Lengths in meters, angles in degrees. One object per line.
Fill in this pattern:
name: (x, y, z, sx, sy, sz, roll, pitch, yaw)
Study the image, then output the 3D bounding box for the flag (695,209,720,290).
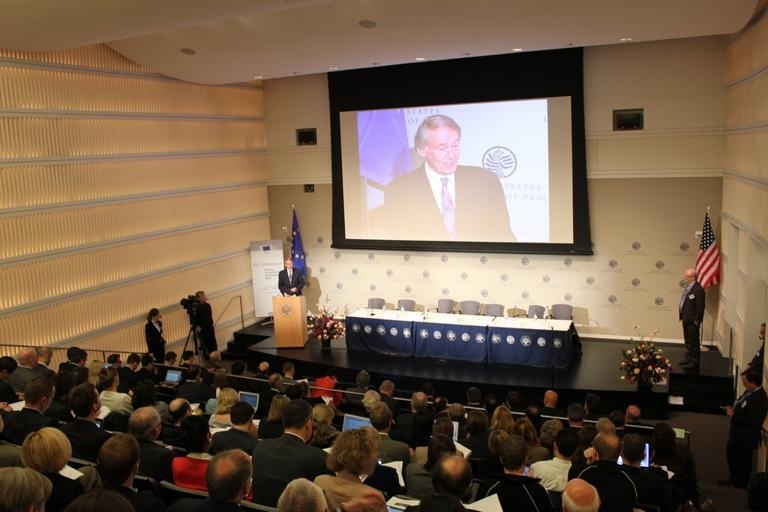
flag: (7.300, -0.162, 11.724, 0.616, 1.972, 0.392, 2, 1, -32)

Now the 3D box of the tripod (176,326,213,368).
tripod: (-4.307, 2.051, 11.869, 0.789, 1.100, 0.708, -1, 27, -11)

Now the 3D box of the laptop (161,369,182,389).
laptop: (-3.582, 2.075, 8.807, 0.236, 0.156, 0.223, 4, -1, 12)

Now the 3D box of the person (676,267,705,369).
person: (6.451, 1.313, 10.930, 0.415, 2.345, 0.704, 3, 1, 30)

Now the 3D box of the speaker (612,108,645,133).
speaker: (5.813, -3.216, 12.301, 0.555, 0.495, 0.192, 2, 6, 26)

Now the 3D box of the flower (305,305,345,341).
flower: (-1.568, 1.737, 12.758, 0.930, 1.237, 0.915, 1, -1, 0)

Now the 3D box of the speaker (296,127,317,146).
speaker: (-2.194, -3.454, 14.920, 0.501, 0.453, 0.182, 2, 4, 18)

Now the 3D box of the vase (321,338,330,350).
vase: (-1.388, 2.113, 12.558, 0.234, 0.305, 0.229, 0, -1, 11)

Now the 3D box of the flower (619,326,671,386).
flower: (5.036, 1.962, 10.041, 0.729, 1.001, 0.778, 6, 9, 31)

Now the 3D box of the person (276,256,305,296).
person: (-2.364, 0.533, 13.312, 0.560, 0.721, 0.684, 2, 1, -42)
